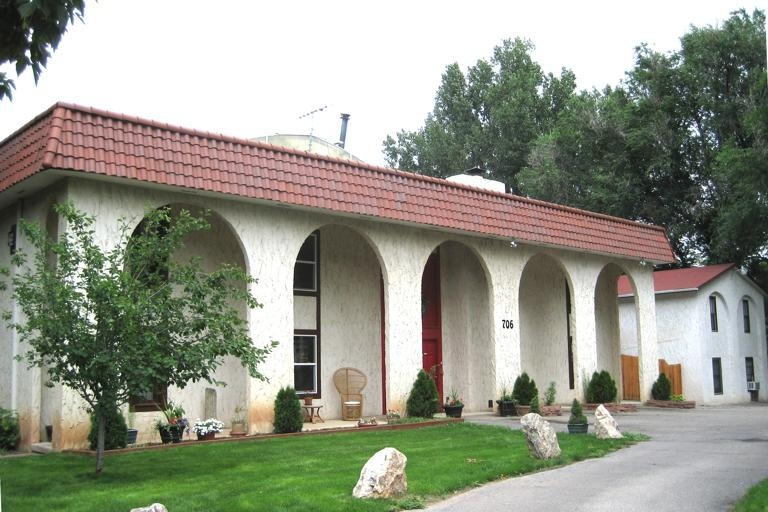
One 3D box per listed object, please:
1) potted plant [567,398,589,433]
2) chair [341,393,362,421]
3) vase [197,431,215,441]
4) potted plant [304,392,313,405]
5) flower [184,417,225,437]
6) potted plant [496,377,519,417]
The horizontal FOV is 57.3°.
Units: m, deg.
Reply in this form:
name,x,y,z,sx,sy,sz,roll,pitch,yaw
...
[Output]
name,x,y,z,sx,sy,sz,roll,pitch,yaw
potted plant,5.649,4.724,20.744,0.535,1.004,0.769,-6,-13,15
chair,-1.136,5.279,24.724,0.646,0.946,0.798,1,-18,-5
vase,-5.030,5.118,20.000,0.519,0.224,0.433,2,-15,-21
potted plant,-2.544,4.877,23.995,0.284,0.334,0.287,7,-19,-26
flower,-5.297,5.022,20.673,0.782,0.448,0.805,-5,-7,41
potted plant,4.516,5.413,26.084,0.805,1.056,0.881,0,-13,-7
